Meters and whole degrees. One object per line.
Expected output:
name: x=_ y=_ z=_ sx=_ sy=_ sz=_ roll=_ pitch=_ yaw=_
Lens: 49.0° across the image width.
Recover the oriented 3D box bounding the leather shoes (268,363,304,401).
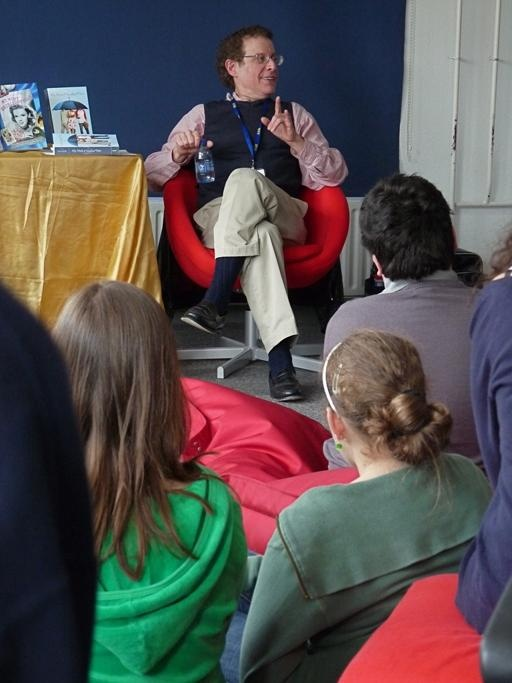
leather shoes: x=0.107 y=0.165 z=2.284 sx=0.081 sy=0.067 sz=0.175 roll=-8 pitch=21 yaw=-10

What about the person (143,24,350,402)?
person: x=-0.045 y=-0.674 z=2.646 sx=0.913 sy=1.762 sz=0.856 roll=-1 pitch=0 yaw=-5

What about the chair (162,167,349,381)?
chair: x=0.013 y=-0.355 z=2.898 sx=1.039 sy=1.089 sz=0.965 roll=-2 pitch=9 yaw=-13

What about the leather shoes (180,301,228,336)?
leather shoes: x=-0.209 y=-0.090 z=2.304 sx=0.084 sy=0.090 sz=0.212 roll=31 pitch=2 yaw=19

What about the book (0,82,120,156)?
book: x=-0.789 y=-0.901 z=2.269 sx=0.476 sy=0.309 sz=0.201 roll=1 pitch=6 yaw=-14
